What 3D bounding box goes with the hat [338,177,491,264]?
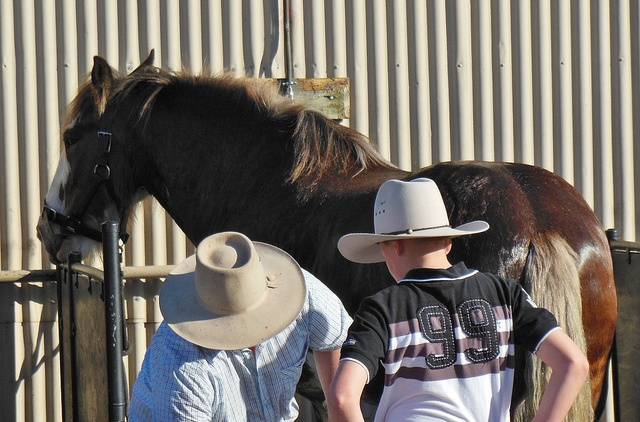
[{"bbox_3d":[0.649,0.081,16.967,0.869,0.407,0.760,-15,-5,41],"label":"hat"}]
